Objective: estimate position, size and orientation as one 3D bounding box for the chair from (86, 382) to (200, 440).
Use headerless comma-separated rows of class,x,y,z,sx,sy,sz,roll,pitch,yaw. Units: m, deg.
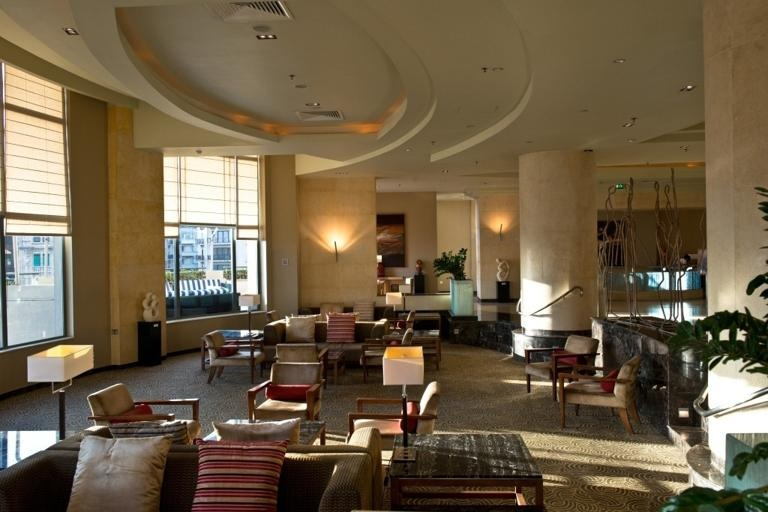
chair,-3.098,2.241,7.443,1.150,0.954,1.015,1,-2,-2
